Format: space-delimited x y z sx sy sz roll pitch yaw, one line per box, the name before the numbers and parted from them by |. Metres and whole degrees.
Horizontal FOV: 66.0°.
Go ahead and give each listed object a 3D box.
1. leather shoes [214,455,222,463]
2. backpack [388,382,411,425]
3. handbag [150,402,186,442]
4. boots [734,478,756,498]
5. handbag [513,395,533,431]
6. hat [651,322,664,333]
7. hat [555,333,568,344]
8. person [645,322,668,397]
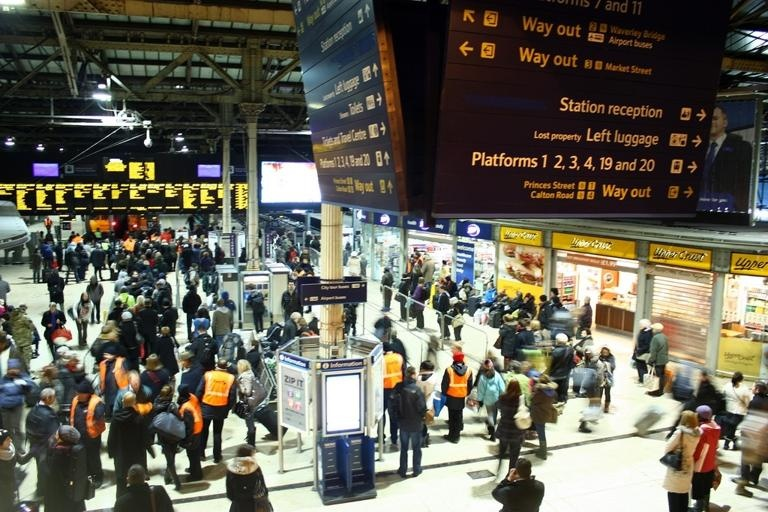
leather shoes | -3.243 3.986 11.638 0.161 0.148 0.145 1 5 -12
backpack | 0.254 2.811 11.180 0.368 0.814 0.643 0 4 -5
handbag | -3.866 3.055 10.600 0.567 0.579 0.292 0 3 -11
boots | 6.560 4.240 10.832 0.311 0.256 0.252 10 -8 10
handbag | 2.546 2.884 10.822 0.232 0.646 0.385 3 3 28
hat | 6.849 1.782 14.914 0.382 0.124 0.475 0 5 4
hat | 4.030 1.874 13.565 0.272 0.262 0.336 0 3 7
person | 6.831 2.587 14.790 0.427 1.816 0.615 3 3 23
